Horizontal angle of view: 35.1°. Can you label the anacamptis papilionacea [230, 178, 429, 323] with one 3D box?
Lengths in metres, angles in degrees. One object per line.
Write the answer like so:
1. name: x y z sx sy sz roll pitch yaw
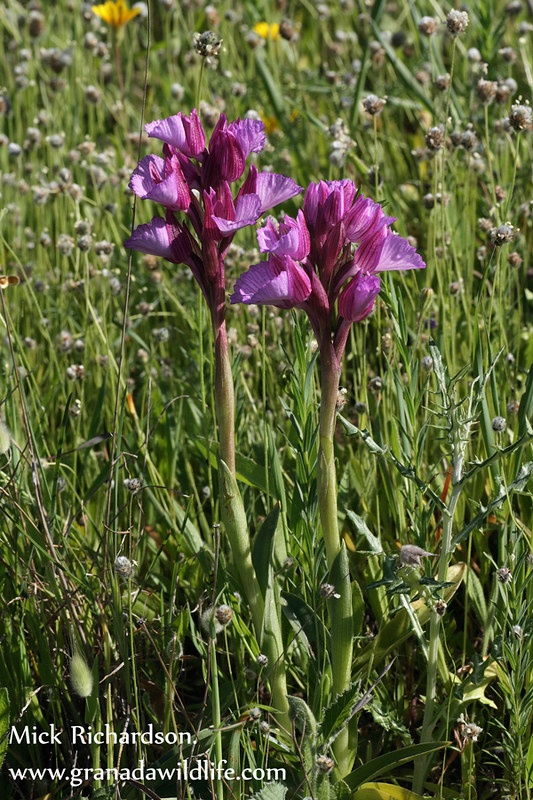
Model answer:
1. anacamptis papilionacea: 0.089 -0.251 1.122 0.179 0.259 0.220 -4 25 -7
